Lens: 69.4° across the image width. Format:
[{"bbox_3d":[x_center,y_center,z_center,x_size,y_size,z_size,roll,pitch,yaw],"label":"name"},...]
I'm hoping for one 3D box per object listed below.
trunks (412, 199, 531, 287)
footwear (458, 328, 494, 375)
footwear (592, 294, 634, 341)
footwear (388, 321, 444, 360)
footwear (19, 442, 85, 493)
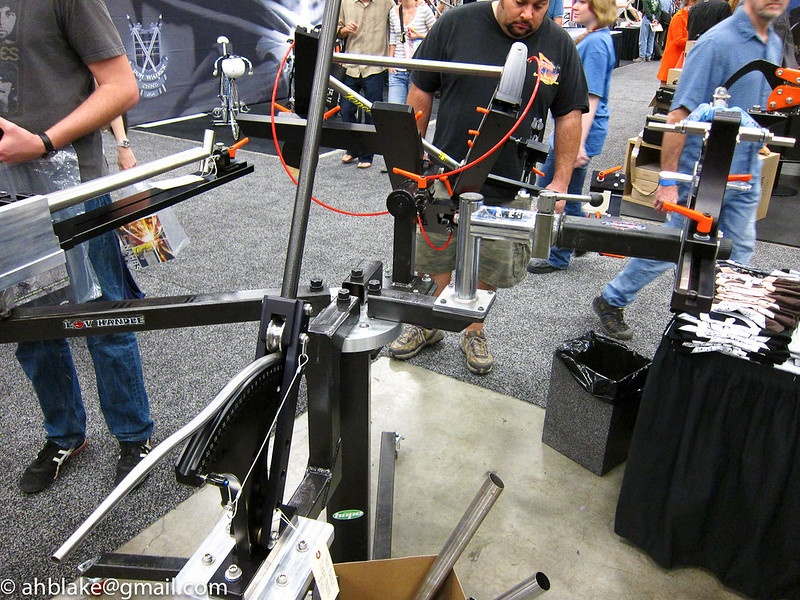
[{"bbox_3d":[0.411,-0.259,3.185,0.702,0.417,0.536,11,23,15],"label":"trunks"},{"bbox_3d":[0.426,0.267,3.182,0.133,0.153,0.343,7,27,-11],"label":"footwear"},{"bbox_3d":[1.273,0.106,3.535,0.119,0.157,0.340,-7,50,-41],"label":"footwear"},{"bbox_3d":[0.095,0.213,3.214,0.378,0.169,0.144,-23,34,-37],"label":"footwear"},{"bbox_3d":[-1.468,0.685,2.492,0.097,0.122,0.288,15,30,12],"label":"footwear"}]
